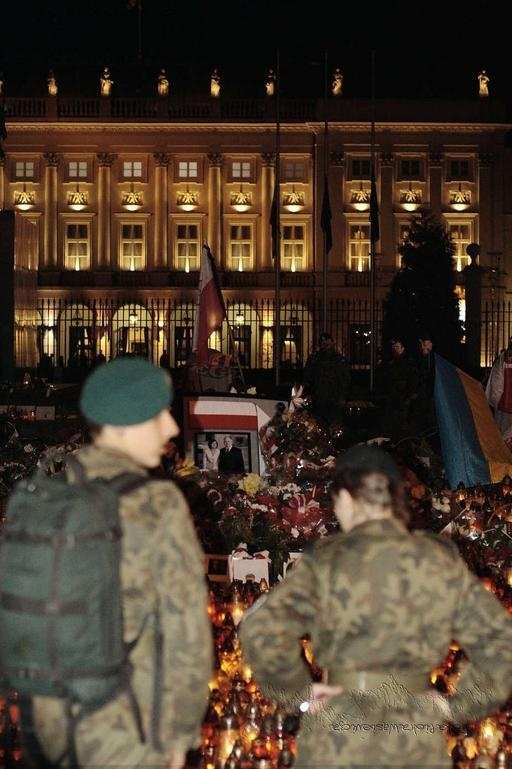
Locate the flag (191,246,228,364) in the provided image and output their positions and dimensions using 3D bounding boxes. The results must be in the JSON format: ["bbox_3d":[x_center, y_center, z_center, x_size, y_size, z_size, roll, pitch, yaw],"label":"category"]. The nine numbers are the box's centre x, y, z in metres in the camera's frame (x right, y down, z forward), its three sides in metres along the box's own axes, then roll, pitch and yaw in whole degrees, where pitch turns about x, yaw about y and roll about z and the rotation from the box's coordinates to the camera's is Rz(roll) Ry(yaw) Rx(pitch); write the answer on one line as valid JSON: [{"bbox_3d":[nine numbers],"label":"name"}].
[{"bbox_3d":[-0.530,-0.831,8.847,0.250,1.590,0.170,-4,4,-6],"label":"flag"}]
